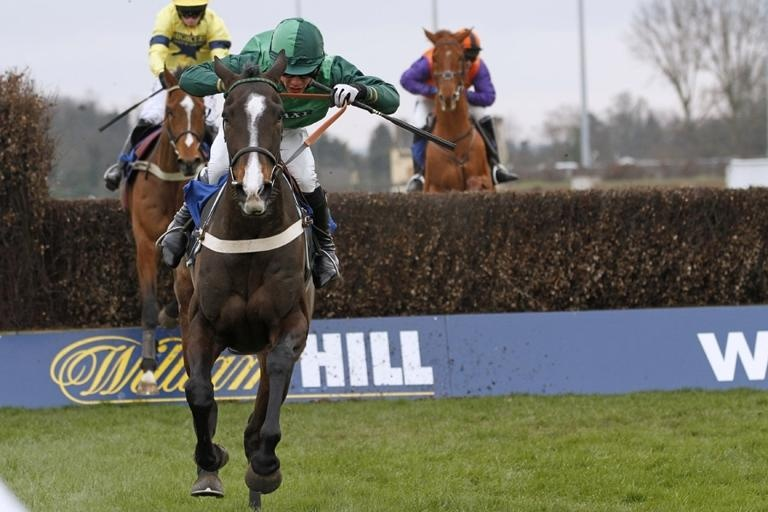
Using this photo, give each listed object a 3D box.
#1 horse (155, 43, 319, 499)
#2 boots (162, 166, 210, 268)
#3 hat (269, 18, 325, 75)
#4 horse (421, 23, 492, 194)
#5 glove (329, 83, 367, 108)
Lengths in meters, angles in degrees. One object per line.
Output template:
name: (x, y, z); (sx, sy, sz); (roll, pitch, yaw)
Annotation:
horse: (-1.478, 0.199, 16.786); (1.349, 4.750, 0.809); (-2, 2, -2)
boots: (-2.247, -0.451, 17.806); (0.297, 1.126, 0.621); (15, 13, -30)
hat: (-0.969, -2.401, 17.393); (0.634, 0.489, 0.866); (9, 31, -1)
horse: (0.993, -2.056, 21.666); (0.982, 2.272, 1.126); (-2, 2, 4)
glove: (-0.395, -1.795, 17.301); (0.287, 0.264, 0.327); (-1, 3, 23)
